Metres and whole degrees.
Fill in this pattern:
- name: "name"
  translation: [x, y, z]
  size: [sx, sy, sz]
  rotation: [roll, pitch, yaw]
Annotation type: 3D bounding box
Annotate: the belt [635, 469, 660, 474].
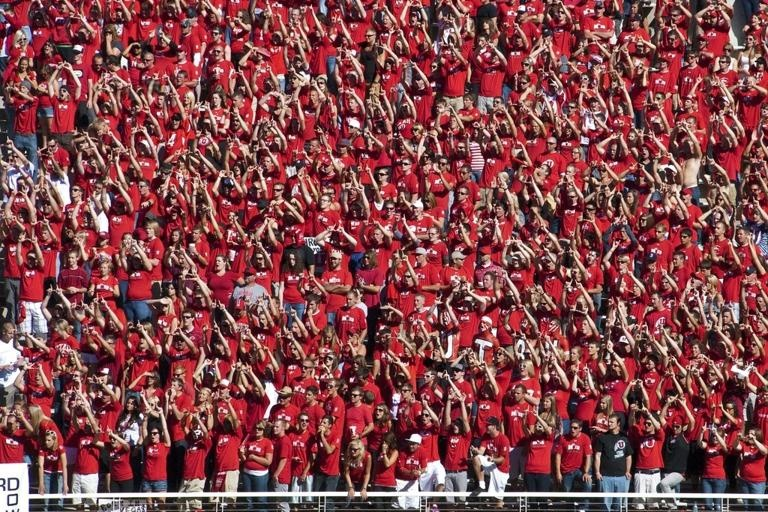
- name: "belt"
  translation: [4.626, 3.765, 35.567]
  size: [0.405, 0.089, 0.080]
  rotation: [0, 21, 2]
